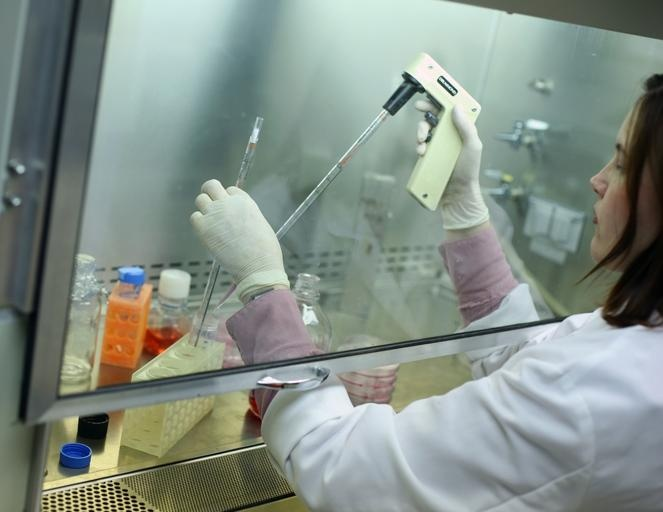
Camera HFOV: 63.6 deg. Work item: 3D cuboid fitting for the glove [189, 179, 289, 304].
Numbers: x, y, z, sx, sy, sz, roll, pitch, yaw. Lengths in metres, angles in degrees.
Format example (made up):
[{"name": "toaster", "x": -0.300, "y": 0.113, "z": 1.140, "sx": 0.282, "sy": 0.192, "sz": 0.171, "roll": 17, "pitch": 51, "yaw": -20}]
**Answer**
[{"name": "glove", "x": -0.182, "y": -0.034, "z": 1.056, "sx": 0.129, "sy": 0.244, "sz": 0.069, "roll": -32, "pitch": 19, "yaw": -20}]
